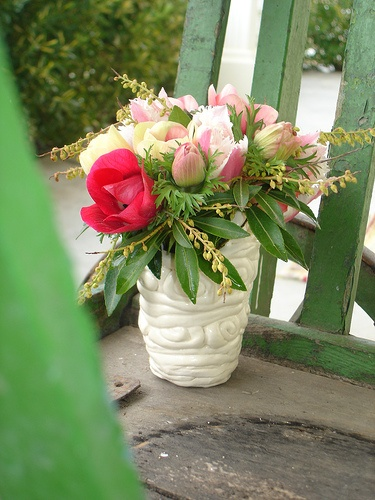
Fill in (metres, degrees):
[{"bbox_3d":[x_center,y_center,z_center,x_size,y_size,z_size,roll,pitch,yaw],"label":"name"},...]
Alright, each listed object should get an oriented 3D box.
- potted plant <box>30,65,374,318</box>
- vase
[{"bbox_3d":[0.006,-0.045,0.691,0.358,0.319,0.294,14,15,33],"label":"potted plant"},{"bbox_3d":[0.007,0.079,0.754,0.159,0.174,0.142,-4,8,-23],"label":"vase"}]
